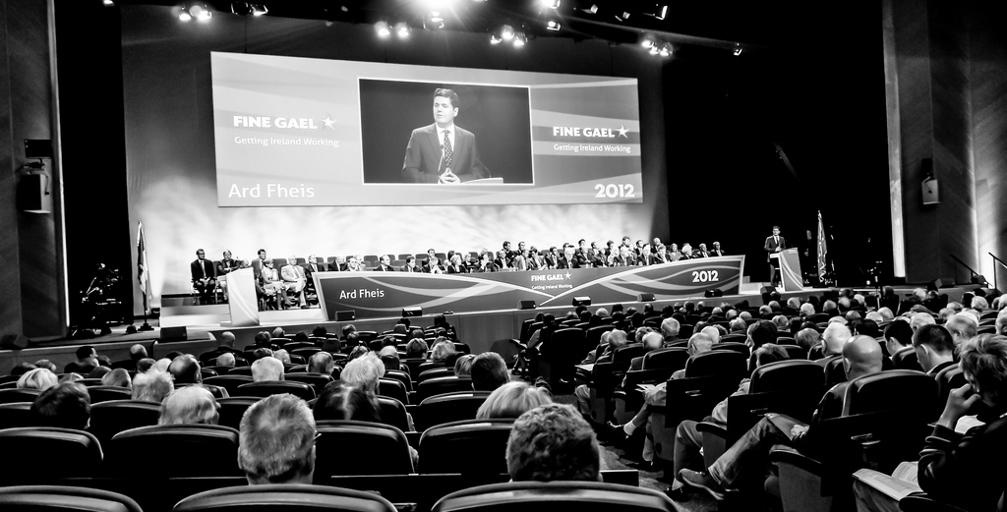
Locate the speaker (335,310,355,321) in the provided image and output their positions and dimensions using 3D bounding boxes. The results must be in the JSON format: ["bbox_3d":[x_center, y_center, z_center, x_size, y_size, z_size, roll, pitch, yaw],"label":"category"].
[{"bbox_3d":[-4.934,1.826,22.272,0.582,0.306,0.276,0,-2,-26],"label":"speaker"}]

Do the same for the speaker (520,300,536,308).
[{"bbox_3d":[0.727,1.492,23.588,0.484,0.266,0.240,-1,2,-11],"label":"speaker"}]

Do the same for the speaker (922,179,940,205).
[{"bbox_3d":[15.888,-2.426,27.052,0.542,1.014,0.411,-5,-4,23],"label":"speaker"}]

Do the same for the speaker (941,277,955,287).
[{"bbox_3d":[15.953,0.931,26.069,0.380,0.170,0.240,7,-15,-14],"label":"speaker"}]
